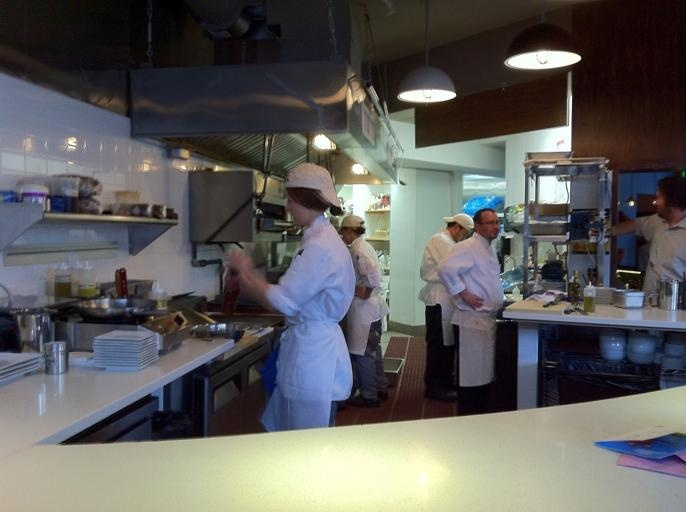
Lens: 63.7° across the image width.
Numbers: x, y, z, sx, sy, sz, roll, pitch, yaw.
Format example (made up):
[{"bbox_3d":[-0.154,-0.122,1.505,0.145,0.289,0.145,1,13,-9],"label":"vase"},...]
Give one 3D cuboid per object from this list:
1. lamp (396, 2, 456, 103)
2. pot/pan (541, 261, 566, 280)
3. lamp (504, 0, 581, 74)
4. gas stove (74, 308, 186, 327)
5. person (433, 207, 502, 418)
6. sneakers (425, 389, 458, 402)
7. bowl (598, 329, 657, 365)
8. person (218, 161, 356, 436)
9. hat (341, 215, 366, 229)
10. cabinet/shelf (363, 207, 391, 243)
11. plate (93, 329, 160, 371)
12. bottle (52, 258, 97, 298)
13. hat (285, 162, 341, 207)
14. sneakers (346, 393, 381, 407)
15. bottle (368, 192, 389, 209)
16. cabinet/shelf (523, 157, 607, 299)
[{"bbox_3d":[0.841,-1.995,5.395,0.512,1.028,1.545,1,9,10],"label":"lamp"},{"bbox_3d":[1.847,0.126,4.846,0.206,0.199,0.155,5,10,28],"label":"pot/pan"},{"bbox_3d":[1.555,-1.669,4.283,0.458,0.498,0.452,4,7,35],"label":"lamp"},{"bbox_3d":[-1.121,0.314,2.872,0.327,0.049,0.210,2,-2,5],"label":"gas stove"},{"bbox_3d":[1.036,0.455,4.441,0.440,1.630,0.563,4,10,25],"label":"person"},{"bbox_3d":[0.919,1.289,5.141,0.293,0.126,0.108,-2,-4,12],"label":"sneakers"},{"bbox_3d":[1.885,0.593,3.650,0.301,0.183,0.221,0,-5,11],"label":"bowl"},{"bbox_3d":[-0.233,0.239,2.640,0.565,1.349,0.397,0,9,1],"label":"person"},{"bbox_3d":[0.081,-0.337,5.441,0.182,0.099,0.134,7,5,44],"label":"hat"},{"bbox_3d":[0.640,-0.584,9.619,0.497,0.468,0.274,1,9,21],"label":"cabinet/shelf"},{"bbox_3d":[-1.003,0.423,2.506,0.219,0.107,0.175,2,2,-10],"label":"plate"},{"bbox_3d":[-1.535,0.147,3.151,0.265,0.254,0.163,2,0,-6],"label":"bottle"},{"bbox_3d":[-0.129,-0.355,2.674,0.342,0.191,0.240,12,8,28],"label":"hat"},{"bbox_3d":[0.177,1.288,4.943,0.318,0.136,0.108,4,-1,14],"label":"sneakers"},{"bbox_3d":[0.630,-0.957,9.555,0.326,0.303,0.173,-4,-8,39],"label":"bottle"},{"bbox_3d":[2.169,-0.335,5.290,0.851,1.271,1.974,3,10,19],"label":"cabinet/shelf"}]
